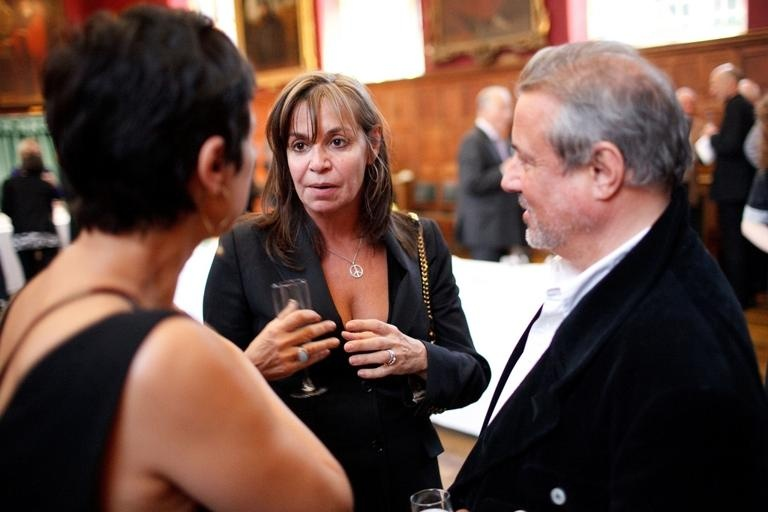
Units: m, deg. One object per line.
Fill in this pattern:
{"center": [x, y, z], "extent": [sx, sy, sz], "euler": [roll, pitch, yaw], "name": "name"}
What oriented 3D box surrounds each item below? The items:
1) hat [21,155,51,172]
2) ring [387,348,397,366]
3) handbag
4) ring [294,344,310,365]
{"center": [-1.076, -0.279, 1.997], "extent": [0.056, 0.056, 0.057], "euler": [0, 4, -3], "name": "hat"}
{"center": [0.025, 0.342, 2.193], "extent": [0.017, 0.044, 0.038], "euler": [3, 3, -32], "name": "ring"}
{"center": [0.158, 0.073, 2.502], "extent": [0.079, 0.348, 0.199], "euler": [1, -16, 6], "name": "handbag"}
{"center": [-0.255, 0.305, 2.030], "extent": [0.034, 0.048, 0.018], "euler": [-6, 15, -7], "name": "ring"}
